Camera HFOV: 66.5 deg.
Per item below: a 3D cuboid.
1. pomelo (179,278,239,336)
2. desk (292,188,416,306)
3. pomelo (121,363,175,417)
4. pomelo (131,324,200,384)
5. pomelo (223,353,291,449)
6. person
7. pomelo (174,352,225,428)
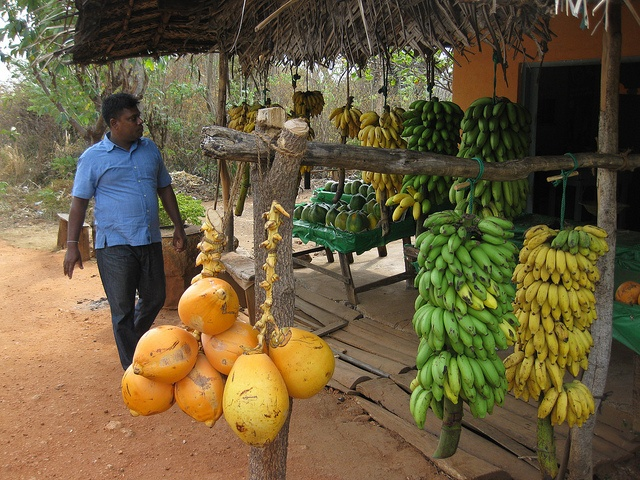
[{"bbox_3d":[-0.537,0.320,2.402,0.259,0.292,0.262,-34,-47,27],"label":"pomelo"},{"bbox_3d":[0.634,0.029,6.510,1.112,0.776,1.538,-13,22,-34],"label":"desk"},{"bbox_3d":[-0.830,0.727,2.383,0.192,0.261,0.211,14,17,40],"label":"pomelo"},{"bbox_3d":[-0.714,0.529,2.332,0.283,0.231,0.222,-30,44,-24],"label":"pomelo"},{"bbox_3d":[-0.255,0.682,2.262,0.265,0.400,0.304,-16,4,8],"label":"pomelo"},{"bbox_3d":[-1.863,-0.172,4.757,0.862,2.752,1.049,-1,3,-33],"label":"person"},{"bbox_3d":[-0.565,0.688,2.280,0.200,0.306,0.187,-5,-6,-23],"label":"pomelo"}]
